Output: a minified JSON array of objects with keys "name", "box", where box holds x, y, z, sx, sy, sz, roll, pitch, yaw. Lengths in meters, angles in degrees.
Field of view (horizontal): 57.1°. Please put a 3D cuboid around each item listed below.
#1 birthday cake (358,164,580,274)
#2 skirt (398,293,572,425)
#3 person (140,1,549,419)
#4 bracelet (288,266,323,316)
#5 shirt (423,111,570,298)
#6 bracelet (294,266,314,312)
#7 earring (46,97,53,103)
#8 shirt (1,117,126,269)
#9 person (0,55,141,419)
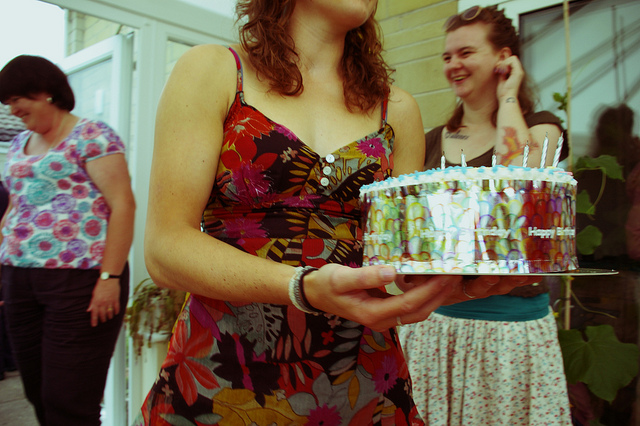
[{"name":"birthday cake","box":[0.600,0.037,2.584,0.659,0.412,0.851,2,-1,0]},{"name":"skirt","box":[0.941,0.668,3.384,0.971,0.808,0.653,1,3,8]},{"name":"person","box":[-0.086,-0.059,2.434,1.224,1.865,0.621,2,-6,-16]},{"name":"bracelet","box":[-0.044,0.304,2.281,0.086,0.156,0.147,2,4,0]},{"name":"shirt","box":[0.882,-0.094,3.432,0.795,1.032,1.071,3,2,5]},{"name":"bracelet","box":[-0.068,0.297,2.290,0.069,0.173,0.030,0,-6,-4]},{"name":"earring","box":[-1.759,-0.734,3.807,0.035,0.021,0.032,-5,-27,-22]},{"name":"shirt","box":[-1.629,-0.087,3.901,0.688,0.955,0.671,16,11,32]},{"name":"person","box":[-1.650,0.151,3.798,0.842,2.358,0.353,1,-6,-11]}]
